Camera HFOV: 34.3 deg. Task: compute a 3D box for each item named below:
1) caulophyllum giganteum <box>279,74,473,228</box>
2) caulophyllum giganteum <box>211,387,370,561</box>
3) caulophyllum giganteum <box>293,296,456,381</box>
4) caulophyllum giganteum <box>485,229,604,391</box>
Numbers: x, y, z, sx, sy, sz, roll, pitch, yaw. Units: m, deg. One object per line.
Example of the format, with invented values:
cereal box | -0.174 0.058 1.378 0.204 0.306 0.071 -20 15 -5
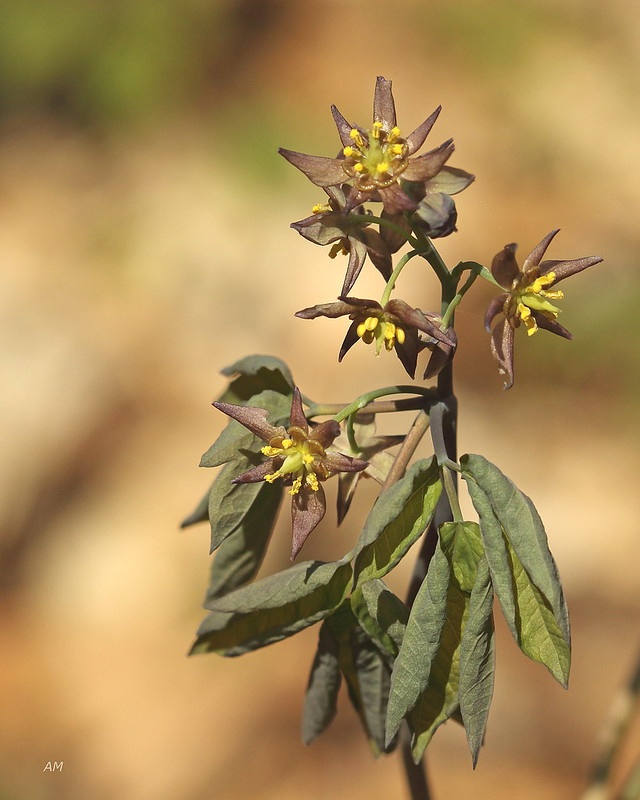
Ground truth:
caulophyllum giganteum | 0.161 -0.643 2.795 0.502 0.434 0.259 0 -29 6
caulophyllum giganteum | -0.078 0.201 2.777 0.404 0.409 0.266 2 -29 4
caulophyllum giganteum | 0.164 -0.191 2.794 0.388 0.102 0.421 -9 -28 37
caulophyllum giganteum | 0.540 -0.284 2.883 0.284 0.208 0.489 -3 -9 -1
